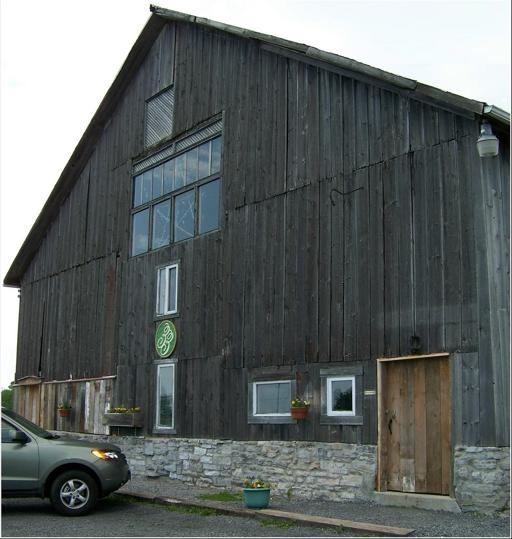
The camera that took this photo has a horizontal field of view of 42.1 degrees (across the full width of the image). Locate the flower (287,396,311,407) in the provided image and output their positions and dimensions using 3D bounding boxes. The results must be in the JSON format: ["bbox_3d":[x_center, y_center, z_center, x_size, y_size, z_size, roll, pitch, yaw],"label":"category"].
[{"bbox_3d":[0.694,2.202,11.091,0.235,0.155,0.399,6,-13,-41],"label":"flower"}]

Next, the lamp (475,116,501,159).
[{"bbox_3d":[3.218,-1.845,9.263,0.257,0.683,0.284,-11,-26,30],"label":"lamp"}]

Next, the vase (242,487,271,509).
[{"bbox_3d":[0.008,3.362,9.804,0.272,0.237,0.338,1,-21,1],"label":"vase"}]

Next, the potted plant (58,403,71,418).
[{"bbox_3d":[-4.826,3.550,16.774,0.267,0.346,0.328,4,-17,-17],"label":"potted plant"}]

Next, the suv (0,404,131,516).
[{"bbox_3d":[-2.847,2.796,10.055,1.819,1.193,1.076,-3,-4,-12],"label":"suv"}]
